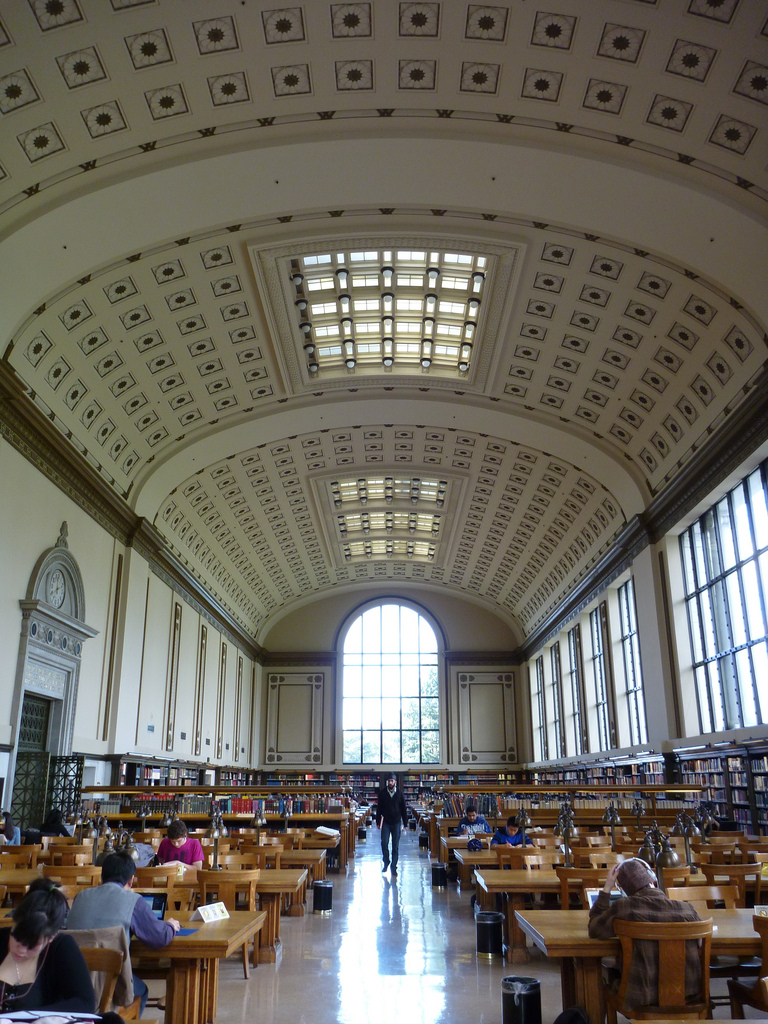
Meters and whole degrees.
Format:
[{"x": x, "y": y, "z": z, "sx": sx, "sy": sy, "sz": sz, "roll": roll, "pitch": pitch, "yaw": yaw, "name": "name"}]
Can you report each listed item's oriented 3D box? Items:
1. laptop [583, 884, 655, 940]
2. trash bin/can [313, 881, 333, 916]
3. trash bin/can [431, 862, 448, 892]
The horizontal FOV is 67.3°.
[{"x": 0.974, "y": 1.683, "z": 2.445, "sx": 0.202, "sy": 0.292, "sz": 0.104, "roll": 8, "pitch": -4, "yaw": 4, "name": "laptop"}, {"x": -0.864, "y": 5.422, "z": 8.216, "sx": 0.338, "sy": 0.486, "sz": 0.371, "roll": 3, "pitch": -20, "yaw": -2, "name": "trash bin/can"}, {"x": 1.002, "y": 6.724, "z": 10.803, "sx": 0.402, "sy": 0.450, "sz": 0.250, "roll": 0, "pitch": -7, "yaw": -2, "name": "trash bin/can"}]
